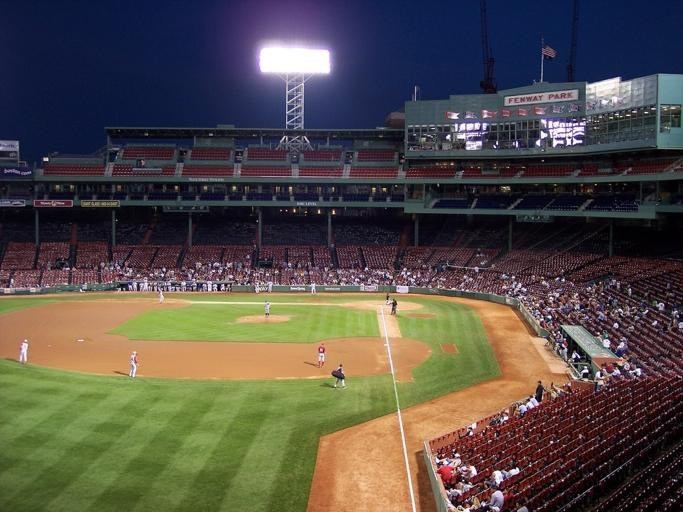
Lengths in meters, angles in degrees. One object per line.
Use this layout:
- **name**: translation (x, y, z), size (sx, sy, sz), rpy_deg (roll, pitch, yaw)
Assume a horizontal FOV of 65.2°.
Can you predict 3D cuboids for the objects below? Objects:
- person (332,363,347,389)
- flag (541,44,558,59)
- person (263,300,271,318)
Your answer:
- **person**: translation (-0.105, 6.402, 28.808), size (0.653, 1.212, 1.482), rpy_deg (-1, 10, 2)
- **flag**: translation (23.762, -23.293, 61.014), size (1.298, 1.842, 3.879), rpy_deg (2, 10, 20)
- **person**: translation (-6.522, 4.696, 46.377), size (0.775, 0.504, 1.775), rpy_deg (-5, 26, -1)
